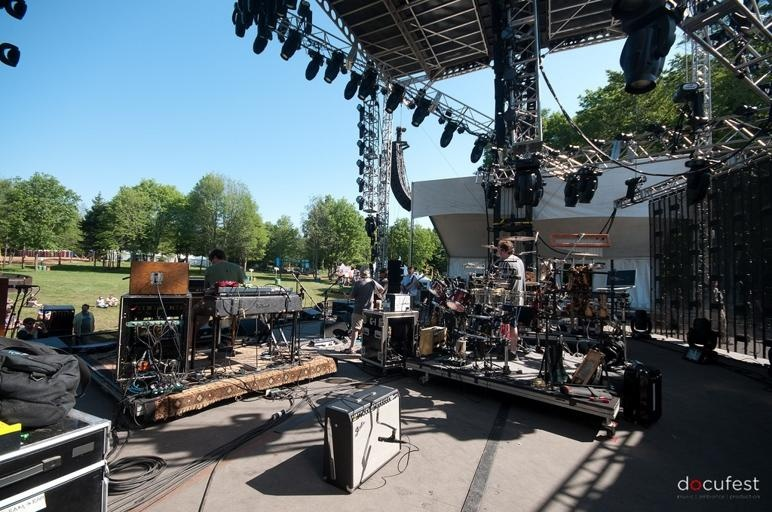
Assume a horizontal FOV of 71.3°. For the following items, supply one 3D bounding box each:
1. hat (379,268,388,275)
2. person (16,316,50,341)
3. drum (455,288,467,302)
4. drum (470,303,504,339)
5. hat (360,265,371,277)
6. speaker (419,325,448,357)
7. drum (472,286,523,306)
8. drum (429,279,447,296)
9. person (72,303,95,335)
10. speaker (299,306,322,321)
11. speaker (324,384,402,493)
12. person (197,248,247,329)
[{"bbox_3d":[-0.062,0.387,13.965,0.129,0.158,0.161,2,7,0],"label":"hat"},{"bbox_3d":[-7.903,1.597,11.939,0.541,0.441,1.006,2,-4,-32],"label":"person"},{"bbox_3d":[1.535,0.778,10.869,0.221,0.214,0.228,-1,-16,38],"label":"drum"},{"bbox_3d":[2.047,1.316,11.004,0.623,0.763,0.652,7,-4,-39],"label":"drum"},{"bbox_3d":[-0.495,0.357,12.700,0.310,0.222,0.499,8,-14,1],"label":"hat"},{"bbox_3d":[1.060,1.919,12.077,0.235,0.548,0.623,0,0,45],"label":"speaker"},{"bbox_3d":[2.269,0.795,10.970,1.027,0.354,0.369,-1,-4,6],"label":"drum"},{"bbox_3d":[1.168,0.686,11.663,0.321,0.399,0.524,1,-4,-22],"label":"drum"},{"bbox_3d":[-7.240,1.472,12.775,0.426,0.671,1.220,2,-4,-30],"label":"person"},{"bbox_3d":[-2.432,1.798,17.010,0.498,0.203,0.732,0,3,-30],"label":"speaker"},{"bbox_3d":[-0.362,2.995,8.620,0.781,1.344,1.450,-3,0,38],"label":"speaker"},{"bbox_3d":[-3.303,0.602,10.779,0.926,1.599,1.263,1,-4,-16],"label":"person"}]
